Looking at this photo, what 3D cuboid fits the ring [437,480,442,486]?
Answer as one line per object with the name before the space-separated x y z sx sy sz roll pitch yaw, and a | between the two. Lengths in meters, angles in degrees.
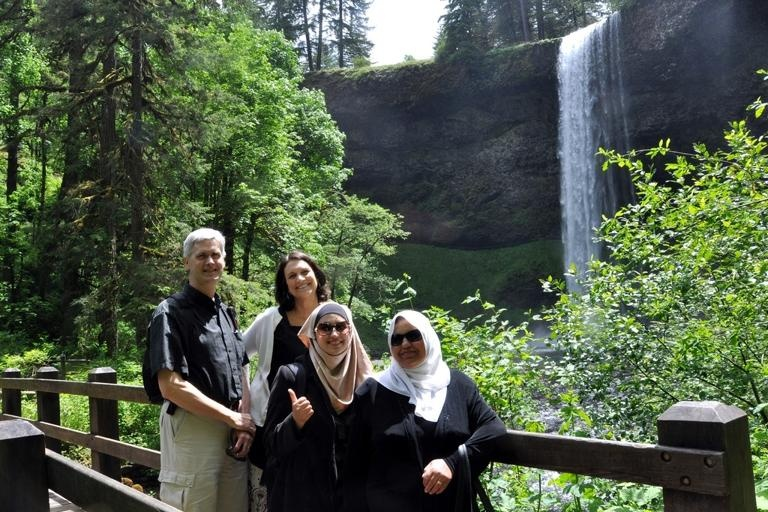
ring | 0.472 1.927 5.906 0.033 0.031 0.057 2 35 1
